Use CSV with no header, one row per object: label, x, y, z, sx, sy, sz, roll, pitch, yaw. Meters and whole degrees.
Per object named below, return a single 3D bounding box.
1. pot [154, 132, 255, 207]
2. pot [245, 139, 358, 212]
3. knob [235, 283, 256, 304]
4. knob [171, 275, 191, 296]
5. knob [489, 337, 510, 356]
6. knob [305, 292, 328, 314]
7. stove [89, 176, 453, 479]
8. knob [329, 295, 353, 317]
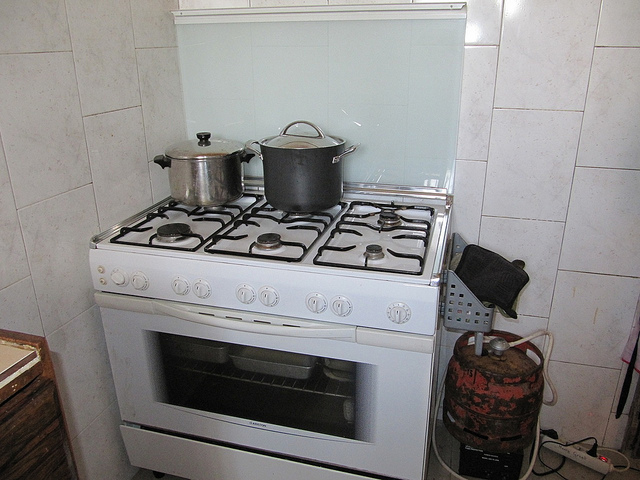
pot,-0.448,-0.283,1.993,0.325,0.255,0.275,-18,28,-40
pot,-0.073,-0.244,1.968,0.451,0.238,0.317,-3,13,-6
knob,-0.238,0.169,1.634,0.062,0.061,0.024,4,17,19
knob,-0.463,0.145,1.689,0.063,0.062,0.016,-2,22,23
knob,0.668,0.392,1.896,0.066,0.045,0.066,15,32,35
knob,-0.011,0.194,1.634,0.066,0.065,0.065,3,18,9
stove,-0.202,0.318,1.748,0.991,0.904,0.540,5,29,13
knob,0.065,0.200,1.569,0.063,0.062,0.019,7,26,17
